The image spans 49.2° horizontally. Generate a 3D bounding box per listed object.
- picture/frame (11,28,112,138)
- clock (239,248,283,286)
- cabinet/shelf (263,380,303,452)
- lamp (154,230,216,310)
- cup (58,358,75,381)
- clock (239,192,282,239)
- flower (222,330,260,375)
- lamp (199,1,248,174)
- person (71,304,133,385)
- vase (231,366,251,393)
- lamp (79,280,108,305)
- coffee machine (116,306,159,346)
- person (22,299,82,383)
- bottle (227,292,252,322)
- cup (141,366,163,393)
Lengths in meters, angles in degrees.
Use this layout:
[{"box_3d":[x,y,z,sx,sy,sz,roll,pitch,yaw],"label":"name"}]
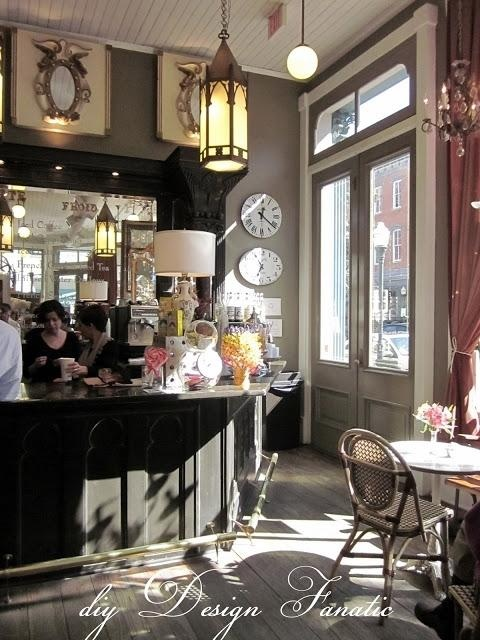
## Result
[{"box_3d":[-1.661,-2.163,4.786,0.965,1.023,0.131,-1,1,-32],"label":"picture/frame"},{"box_3d":[0.204,-0.580,5.727,0.386,0.396,0.044,-2,-1,-23],"label":"clock"},{"box_3d":[0.437,1.005,5.488,0.517,0.727,0.165,1,-2,-40],"label":"cabinet/shelf"},{"box_3d":[-0.317,-0.298,3.159,0.376,0.454,0.390,0,-1,2],"label":"lamp"},{"box_3d":[-1.096,0.312,3.324,0.096,0.140,0.194,1,-1,-20],"label":"cup"},{"box_3d":[0.203,-1.140,5.728,0.417,0.448,0.071,15,-18,-29],"label":"clock"},{"box_3d":[0.010,0.184,3.140,0.225,0.261,0.231,2,3,4],"label":"flower"},{"box_3d":[-0.083,-1.186,2.724,0.255,0.806,0.219,0,-1,21],"label":"lamp"},{"box_3d":[-0.979,0.167,3.756,0.346,0.551,1.109,0,-1,-14],"label":"person"},{"box_3d":[0.014,0.355,3.139,0.104,0.127,0.105,2,4,31],"label":"vase"},{"box_3d":[-1.377,-0.268,4.942,0.234,0.257,0.192,-2,7,-1],"label":"lamp"},{"box_3d":[-0.770,0.051,4.146,0.285,0.394,0.411,1,-3,-39],"label":"coffee machine"},{"box_3d":[-1.510,0.253,4.267,0.412,0.766,0.414,-3,2,-17],"label":"person"},{"box_3d":[0.012,-0.132,5.485,0.067,0.307,0.285,0,-7,-17],"label":"bottle"},{"box_3d":[-0.486,0.328,2.924,0.111,0.134,0.115,1,2,0],"label":"cup"}]
